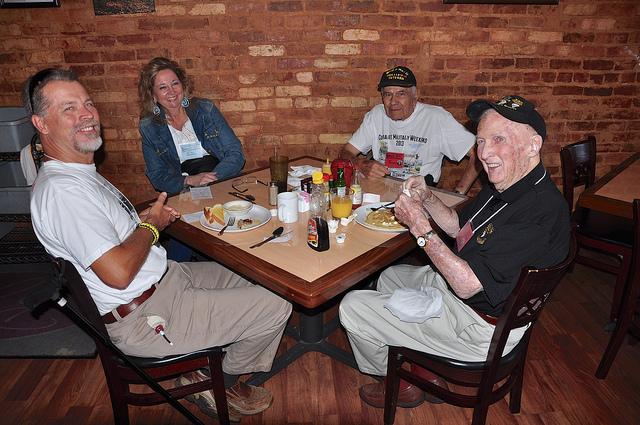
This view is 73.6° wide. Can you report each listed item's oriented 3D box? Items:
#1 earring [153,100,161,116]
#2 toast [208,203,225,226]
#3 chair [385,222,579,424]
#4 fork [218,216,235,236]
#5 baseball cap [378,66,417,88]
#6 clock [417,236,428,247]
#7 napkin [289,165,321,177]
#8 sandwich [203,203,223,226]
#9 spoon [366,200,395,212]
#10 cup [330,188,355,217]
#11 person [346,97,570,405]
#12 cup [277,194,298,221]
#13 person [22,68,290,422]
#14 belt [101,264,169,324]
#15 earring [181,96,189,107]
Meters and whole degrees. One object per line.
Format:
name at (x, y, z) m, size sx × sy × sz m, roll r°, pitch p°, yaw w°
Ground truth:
earring at (-1.419, -0.912, 3.714) m, size 0.045 × 0.121 × 0.070 m, roll -10°, pitch 23°, yaw -9°
toast at (-0.667, 0.006, 2.786) m, size 0.119 × 0.031 × 0.117 m, roll 0°, pitch 53°, yaw -33°
chair at (0.945, 0.706, 2.610) m, size 0.879 × 1.371 × 0.803 m, roll 18°, pitch 30°, yaw 35°
fork at (-0.593, 0.092, 2.729) m, size 0.028 × 0.025 × 0.169 m, roll 13°, pitch 46°, yaw 11°
baseball cap at (0.664, -1.142, 3.627) m, size 0.184 × 0.109 × 0.265 m, roll 11°, pitch 20°, yaw 33°
clock at (0.587, 0.165, 2.446) m, size 0.062 × 0.064 × 0.041 m, roll -9°, pitch -1°, yaw 16°
napkin at (-0.121, -0.325, 3.388) m, size 0.158 × 0.033 × 0.142 m, roll -16°, pitch 27°, yaw -39°
sandwich at (-0.691, 0.010, 2.793) m, size 0.120 × 0.042 × 0.126 m, roll 11°, pitch 47°, yaw 5°
spoon at (0.409, -0.038, 2.903) m, size 0.174 × 0.024 × 0.019 m, roll -24°, pitch 10°, yaw -24°
cup at (0.147, -0.075, 2.877) m, size 0.161 × 0.148 × 0.194 m, roll -3°, pitch 22°, yaw -5°
person at (0.854, 0.347, 2.627) m, size 1.123 × 1.940 × 0.858 m, roll 7°, pitch 26°, yaw 28°
cup at (-0.210, -0.028, 2.772) m, size 0.110 × 0.155 × 0.177 m, roll 3°, pitch 21°, yaw 8°
person at (-1.000, 0.341, 2.565) m, size 1.211 × 2.315 × 0.636 m, roll 1°, pitch 24°, yaw 17°
belt at (-1.057, 0.509, 2.505) m, size 0.418 × 0.167 × 0.107 m, roll -21°, pitch 27°, yaw -34°
earring at (-1.195, -0.981, 3.773) m, size 0.092 × 0.089 × 0.021 m, roll -6°, pitch 8°, yaw -12°
